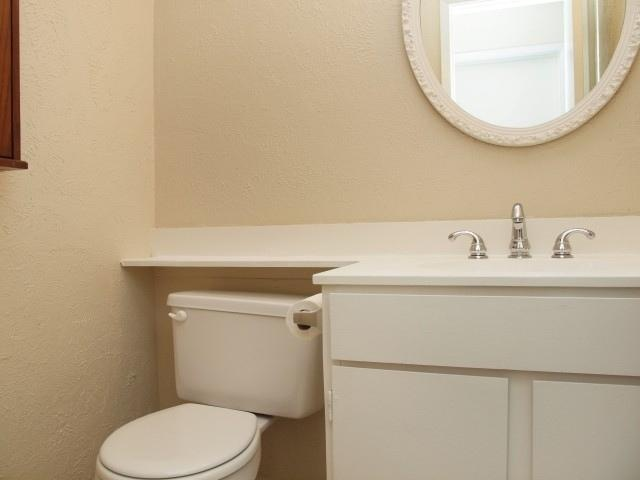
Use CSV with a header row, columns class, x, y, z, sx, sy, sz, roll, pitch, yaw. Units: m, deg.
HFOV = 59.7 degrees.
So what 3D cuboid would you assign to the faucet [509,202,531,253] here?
class,x,y,z,sx,sy,sz,roll,pitch,yaw
faucet,0.620,-0.023,1.728,0.059,0.168,0.080,-1,-17,20
